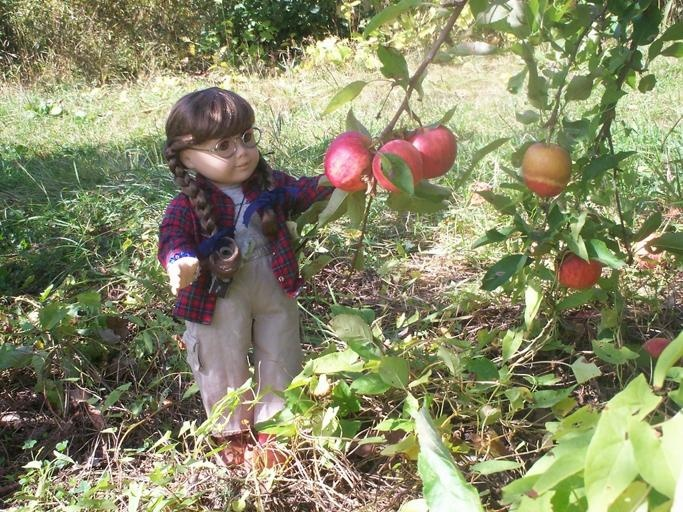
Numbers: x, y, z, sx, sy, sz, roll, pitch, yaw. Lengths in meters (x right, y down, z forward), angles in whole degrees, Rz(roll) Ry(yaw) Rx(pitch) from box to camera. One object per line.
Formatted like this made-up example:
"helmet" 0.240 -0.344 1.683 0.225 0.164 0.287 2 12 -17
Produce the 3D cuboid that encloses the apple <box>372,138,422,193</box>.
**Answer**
"apple" 0.106 -0.161 0.974 0.096 0.104 0.138 1 28 8

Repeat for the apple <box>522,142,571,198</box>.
"apple" 0.427 -0.197 1.177 0.113 0.135 0.112 0 15 2

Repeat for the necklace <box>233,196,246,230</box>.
"necklace" -0.299 -0.128 1.520 0.049 0.075 0.020 -5 -10 29

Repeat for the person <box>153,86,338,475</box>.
"person" -0.303 0.054 1.530 0.481 0.990 0.580 8 30 20

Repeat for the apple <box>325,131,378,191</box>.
"apple" 0.015 -0.172 1.019 0.094 0.130 0.087 -4 28 -1
